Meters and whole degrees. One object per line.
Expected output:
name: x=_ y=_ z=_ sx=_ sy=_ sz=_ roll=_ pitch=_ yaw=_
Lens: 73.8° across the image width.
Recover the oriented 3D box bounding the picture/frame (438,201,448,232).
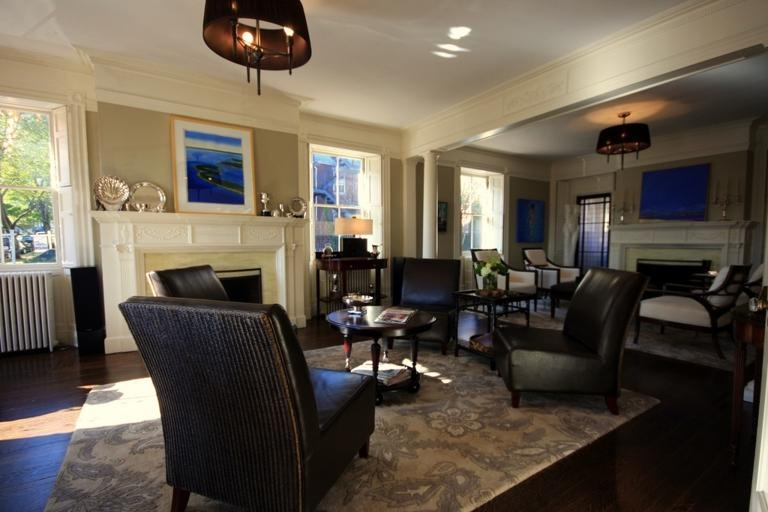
picture/frame: x=1.052 y=-0.709 z=9.170 sx=0.231 sy=0.563 sz=0.028 roll=-5 pitch=7 yaw=-37

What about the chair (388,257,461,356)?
chair: x=0.492 y=0.543 z=6.497 sx=1.124 sy=0.952 sz=1.081 roll=-2 pitch=9 yaw=-30

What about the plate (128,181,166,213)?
plate: x=-2.950 y=-0.745 z=6.337 sx=0.439 sy=0.364 sz=0.122 roll=-2 pitch=6 yaw=-19

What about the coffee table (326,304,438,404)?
coffee table: x=0.026 y=1.087 z=5.610 sx=1.464 sy=0.801 sz=1.283 roll=7 pitch=-1 yaw=5

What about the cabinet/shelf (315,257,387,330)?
cabinet/shelf: x=-0.388 y=0.457 z=7.809 sx=1.012 sy=0.721 sz=0.362 roll=-2 pitch=-2 yaw=-22

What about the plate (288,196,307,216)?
plate: x=-1.257 y=-0.693 z=7.221 sx=0.244 sy=0.297 sz=0.350 roll=0 pitch=4 yaw=4

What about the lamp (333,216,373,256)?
lamp: x=-0.482 y=-0.285 z=7.756 sx=0.527 sy=0.577 sz=0.651 roll=-1 pitch=4 yaw=-4
